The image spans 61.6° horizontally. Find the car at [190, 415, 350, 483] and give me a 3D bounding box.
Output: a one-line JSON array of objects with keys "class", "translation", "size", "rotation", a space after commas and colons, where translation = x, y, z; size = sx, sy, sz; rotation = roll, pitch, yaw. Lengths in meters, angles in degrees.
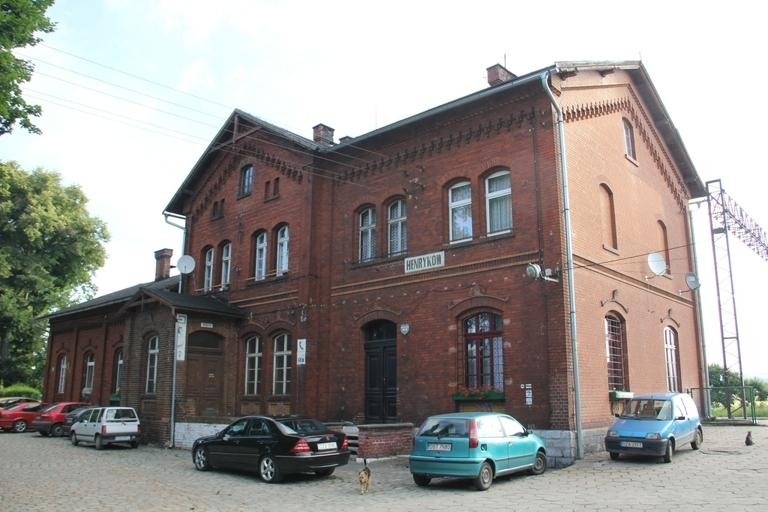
[{"class": "car", "translation": [-4.221, 6.754, 22.666], "size": [5.872, 2.165, 1.886], "rotation": [-11, -21, 29]}]

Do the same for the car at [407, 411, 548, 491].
[{"class": "car", "translation": [2.939, 6.168, 20.471], "size": [3.707, 2.297, 1.451], "rotation": [6, -20, -20]}]

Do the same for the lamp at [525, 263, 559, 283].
[{"class": "lamp", "translation": [5.737, 0.568, 23.573], "size": [1.155, 0.803, 0.575], "rotation": [4, -19, -17]}]

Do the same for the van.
[{"class": "van", "translation": [9.743, 6.136, 23.235], "size": [3.667, 2.400, 1.562], "rotation": [10, -22, -31]}]
